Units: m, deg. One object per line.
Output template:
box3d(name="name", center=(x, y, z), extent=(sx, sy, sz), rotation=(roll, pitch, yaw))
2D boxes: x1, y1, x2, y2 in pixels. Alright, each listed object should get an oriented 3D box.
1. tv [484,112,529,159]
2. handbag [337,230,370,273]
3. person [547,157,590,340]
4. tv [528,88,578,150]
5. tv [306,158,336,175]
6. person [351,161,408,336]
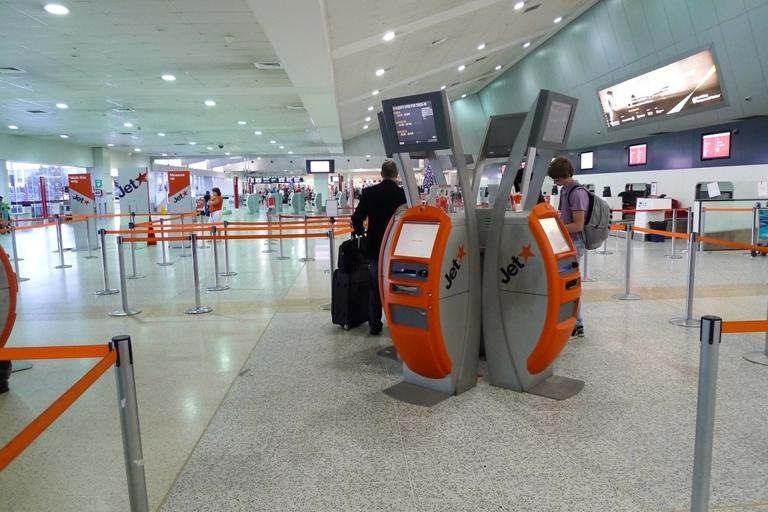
box3d(name="tv", center=(1.339, -1.425, 5.615), extent=(0.685, 0.536, 0.412), rotation=(-14, 19, -39))
box3d(name="handbag", center=(-0.404, -0.045, 6.565), extent=(0.385, 0.621, 0.717), rotation=(5, 5, 37))
box3d(name="person", center=(2.392, -0.564, 6.104), extent=(0.502, 1.400, 0.702), rotation=(5, 17, 22))
box3d(name="tv", center=(1.715, -1.357, 4.724), extent=(0.657, 0.582, 0.204), rotation=(-15, 20, -41))
box3d(name="tv", center=(-4.287, -6.046, 31.718), extent=(1.817, 0.860, 0.782), rotation=(-4, 15, -9))
box3d(name="person", center=(-0.051, -0.092, 6.283), extent=(0.710, 2.324, 0.811), rotation=(-2, 16, -2))
